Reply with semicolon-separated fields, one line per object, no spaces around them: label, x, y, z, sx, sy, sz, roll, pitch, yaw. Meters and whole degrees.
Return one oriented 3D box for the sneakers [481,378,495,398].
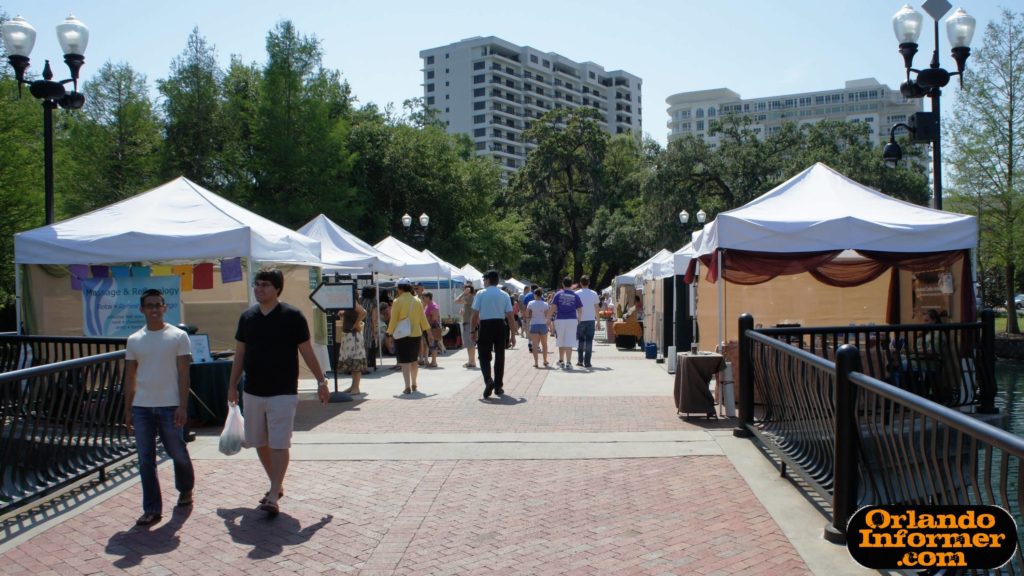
sneakers;-0.548;2.313;20.333;0.198;0.457;0.193;3;33;-9

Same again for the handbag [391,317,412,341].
handbag;-2.577;0.950;20.928;0.481;0.460;0.209;-5;-11;22

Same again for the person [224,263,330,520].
person;-3.859;1.654;14.517;1.480;3.888;0.771;-1;4;-3

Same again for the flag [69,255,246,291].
flag;-7.460;-0.278;19.368;3.505;0.690;1.592;-1;3;-3

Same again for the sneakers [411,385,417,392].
sneakers;-2.327;2.362;21.138;0.137;0.135;0.140;-1;3;2

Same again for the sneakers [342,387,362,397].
sneakers;-3.727;2.428;20.803;0.531;0.220;0.164;13;-24;-33

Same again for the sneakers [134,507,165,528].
sneakers;-5.694;3.608;14.099;0.178;0.188;0.452;-2;-4;43

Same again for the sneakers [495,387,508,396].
sneakers;-0.298;2.392;20.759;0.140;0.176;0.416;0;-9;3

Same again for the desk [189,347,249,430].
desk;-6.145;2.136;18.666;1.366;1.349;1.336;2;-4;-43

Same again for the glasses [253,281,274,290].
glasses;-3.977;-0.043;14.426;0.279;0.130;0.083;-2;4;-19

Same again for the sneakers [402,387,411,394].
sneakers;-2.468;2.374;20.928;0.187;0.133;0.256;-1;4;-7

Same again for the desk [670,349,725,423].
desk;3.680;1.989;18.172;1.183;1.414;1.221;0;-1;15

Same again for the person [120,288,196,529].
person;-5.666;1.861;14.408;0.966;3.632;0.822;-3;4;-24

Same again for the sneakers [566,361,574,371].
sneakers;1.561;2.192;25.197;0.180;0.221;0.528;1;1;13

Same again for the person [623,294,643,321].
person;4.461;0.795;33.146;0.554;0.831;1.165;1;4;27

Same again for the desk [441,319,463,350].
desk;-2.421;1.734;32.447;0.703;0.942;1.214;2;-5;-3

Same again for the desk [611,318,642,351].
desk;4.153;1.731;33.028;1.069;1.155;0.888;2;-1;7
